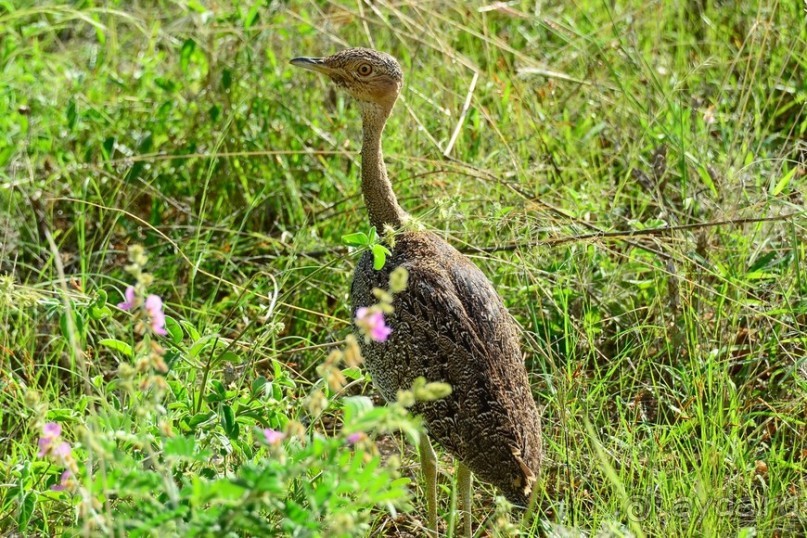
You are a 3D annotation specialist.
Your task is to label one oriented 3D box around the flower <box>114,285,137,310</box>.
[{"bbox_3d":[-1.242,0.137,3.997,0.077,0.308,0.089,-2,74,-18],"label":"flower"}]
